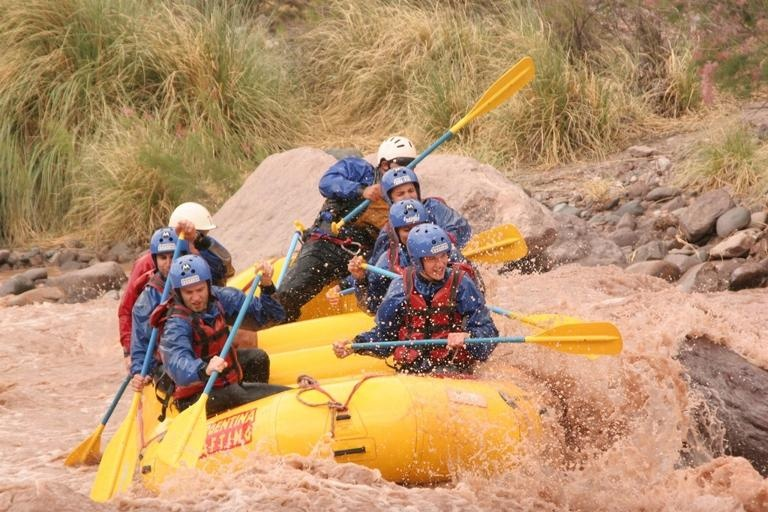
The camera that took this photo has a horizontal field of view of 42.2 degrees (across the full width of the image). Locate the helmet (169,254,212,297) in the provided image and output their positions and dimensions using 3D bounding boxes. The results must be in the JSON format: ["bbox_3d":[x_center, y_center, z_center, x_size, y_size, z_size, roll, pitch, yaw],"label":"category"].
[{"bbox_3d":[-1.915,0.134,9.819,0.279,0.376,0.401,-6,-32,-13],"label":"helmet"}]

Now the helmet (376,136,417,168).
[{"bbox_3d":[0.146,-1.227,11.700,0.390,0.345,0.307,-29,-16,34],"label":"helmet"}]

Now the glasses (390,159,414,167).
[{"bbox_3d":[0.198,-1.091,11.528,0.150,0.092,0.102,-8,5,-11],"label":"glasses"}]

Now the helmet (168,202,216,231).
[{"bbox_3d":[-2.176,-0.403,11.117,0.407,0.245,0.310,-8,11,3],"label":"helmet"}]

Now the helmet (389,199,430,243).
[{"bbox_3d":[0.231,-0.363,10.362,0.316,0.458,0.449,-14,4,-13],"label":"helmet"}]

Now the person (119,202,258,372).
[{"bbox_3d":[-2.295,0.750,11.153,1.204,2.541,1.195,-9,-4,10],"label":"person"}]

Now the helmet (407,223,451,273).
[{"bbox_3d":[0.416,-0.095,9.820,0.334,0.484,0.459,-4,4,-32],"label":"helmet"}]

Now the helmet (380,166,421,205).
[{"bbox_3d":[0.153,-0.771,11.032,0.308,0.394,0.417,-10,-12,-18],"label":"helmet"}]

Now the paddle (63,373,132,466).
[{"bbox_3d":[-2.974,1.756,10.558,0.295,0.071,1.526,7,33,7],"label":"paddle"}]

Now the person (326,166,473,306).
[{"bbox_3d":[0.376,-0.570,11.015,1.383,0.503,1.541,-8,44,10],"label":"person"}]

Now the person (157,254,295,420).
[{"bbox_3d":[-1.643,0.691,10.039,1.583,1.327,1.102,6,19,41],"label":"person"}]
